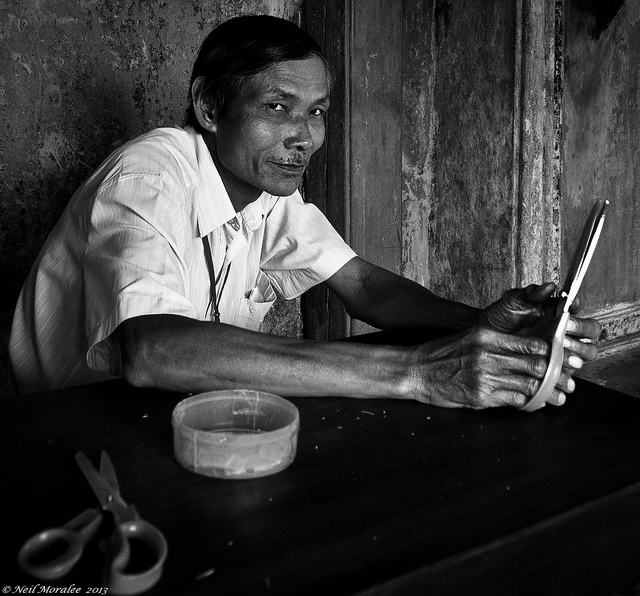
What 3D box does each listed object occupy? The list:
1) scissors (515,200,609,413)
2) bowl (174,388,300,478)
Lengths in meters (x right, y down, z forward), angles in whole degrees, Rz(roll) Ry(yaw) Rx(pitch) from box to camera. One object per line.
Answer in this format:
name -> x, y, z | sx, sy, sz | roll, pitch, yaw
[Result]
scissors -> 0.450, 0.008, 1.338 | 0.129, 0.395, 0.249 | 4, 8, 12
bowl -> -0.131, 0.212, 1.094 | 0.189, 0.089, 0.170 | 1, 9, -14
